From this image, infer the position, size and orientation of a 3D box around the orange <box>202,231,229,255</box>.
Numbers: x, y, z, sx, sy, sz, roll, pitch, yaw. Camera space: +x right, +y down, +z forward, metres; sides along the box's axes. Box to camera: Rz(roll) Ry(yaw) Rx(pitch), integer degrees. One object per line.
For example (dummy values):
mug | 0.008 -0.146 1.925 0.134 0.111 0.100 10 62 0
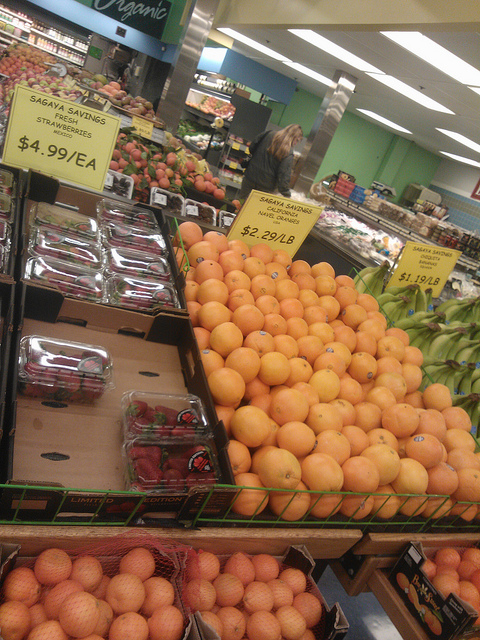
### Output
orange | -0.097 -0.336 2.033 0.108 0.114 0.103 11 -16 -8

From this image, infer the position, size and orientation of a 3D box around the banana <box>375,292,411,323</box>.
banana | 0.857 -0.080 2.579 0.138 0.065 0.180 31 26 -15

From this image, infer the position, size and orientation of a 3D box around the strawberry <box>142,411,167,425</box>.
strawberry | -0.225 0.253 1.205 0.045 0.026 0.033 2 -28 46

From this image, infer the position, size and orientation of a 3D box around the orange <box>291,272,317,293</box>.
orange | 0.287 -0.176 2.067 0.094 0.102 0.088 1 35 7

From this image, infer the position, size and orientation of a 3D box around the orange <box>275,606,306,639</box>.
orange | 0.116 0.714 1.103 0.053 0.035 0.065 -5 39 -32

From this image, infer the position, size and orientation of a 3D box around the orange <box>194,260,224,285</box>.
orange | -0.141 -0.176 1.859 0.108 0.114 0.099 9 -8 -5

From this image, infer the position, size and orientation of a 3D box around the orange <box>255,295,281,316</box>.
orange | 0.106 -0.054 1.822 0.080 0.091 0.073 -4 70 -26

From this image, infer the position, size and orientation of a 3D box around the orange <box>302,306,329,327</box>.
orange | 0.317 -0.016 1.942 0.099 0.077 0.079 -17 -29 18

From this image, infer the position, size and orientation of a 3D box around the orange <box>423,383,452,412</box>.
orange | 0.760 0.302 1.836 0.110 0.096 0.103 10 44 -3

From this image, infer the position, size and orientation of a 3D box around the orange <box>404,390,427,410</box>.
orange | 0.706 0.322 1.852 0.069 0.063 0.079 4 23 5

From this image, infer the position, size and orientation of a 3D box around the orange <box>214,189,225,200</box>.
orange | -0.198 -1.160 4.361 0.096 0.064 0.115 4 46 -13

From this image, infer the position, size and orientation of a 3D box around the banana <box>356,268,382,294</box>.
banana | 0.744 -0.214 2.642 0.083 0.196 0.047 46 -21 -9

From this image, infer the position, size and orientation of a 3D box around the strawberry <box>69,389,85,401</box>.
strawberry | -0.446 0.206 1.251 0.037 0.034 0.032 -3 40 -1

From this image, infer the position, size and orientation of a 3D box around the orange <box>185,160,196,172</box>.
orange | -0.474 -1.426 4.335 0.076 0.076 0.189 27 23 2

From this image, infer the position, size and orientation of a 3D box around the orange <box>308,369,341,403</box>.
orange | 0.273 0.233 1.633 0.109 0.102 0.120 9 57 -10

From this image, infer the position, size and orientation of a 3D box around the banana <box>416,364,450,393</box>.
banana | 0.864 0.264 2.058 0.070 0.039 0.198 12 32 30

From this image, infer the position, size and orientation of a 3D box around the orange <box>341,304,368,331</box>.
orange | 0.504 -0.012 2.036 0.112 0.120 0.112 -5 16 -10

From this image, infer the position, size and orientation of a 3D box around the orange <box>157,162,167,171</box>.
orange | -0.660 -1.268 3.875 0.066 0.060 0.075 2 2 -6

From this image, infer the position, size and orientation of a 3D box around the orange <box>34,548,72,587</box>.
orange | -0.375 0.490 0.911 0.062 0.034 0.060 38 46 -18

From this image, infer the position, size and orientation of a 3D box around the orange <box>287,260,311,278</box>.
orange | 0.280 -0.240 2.221 0.088 0.082 0.094 11 56 1

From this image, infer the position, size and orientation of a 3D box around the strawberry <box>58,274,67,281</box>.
strawberry | -0.578 -0.134 1.478 0.022 0.019 0.020 3 -13 6

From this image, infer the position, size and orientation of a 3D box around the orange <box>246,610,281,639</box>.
orange | 0.055 0.714 1.073 0.067 0.039 0.065 11 27 -30

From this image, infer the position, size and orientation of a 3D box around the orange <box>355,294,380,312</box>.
orange | 0.603 -0.064 2.221 0.089 0.082 0.105 -12 -20 40

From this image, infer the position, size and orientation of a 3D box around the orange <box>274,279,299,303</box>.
orange | 0.193 -0.115 1.912 0.095 0.087 0.110 3 4 17

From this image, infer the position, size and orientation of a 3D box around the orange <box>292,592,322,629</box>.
orange | 0.163 0.719 1.162 0.070 0.075 0.067 2 5 5

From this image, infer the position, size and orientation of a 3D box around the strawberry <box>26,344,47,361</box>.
strawberry | -0.535 0.082 1.189 0.032 0.021 0.029 3 63 -25

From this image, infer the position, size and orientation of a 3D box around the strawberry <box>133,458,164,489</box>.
strawberry | -0.213 0.359 1.072 0.069 0.020 0.078 12 26 -25

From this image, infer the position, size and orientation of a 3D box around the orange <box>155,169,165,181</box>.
orange | -0.668 -1.186 3.790 0.083 0.077 0.092 1 2 -15

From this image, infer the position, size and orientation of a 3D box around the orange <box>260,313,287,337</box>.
orange | 0.127 0.021 1.699 0.088 0.079 0.099 5 0 -7

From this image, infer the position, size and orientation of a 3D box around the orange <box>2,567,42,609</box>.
orange | -0.413 0.497 0.861 0.059 0.055 0.068 2 29 -25

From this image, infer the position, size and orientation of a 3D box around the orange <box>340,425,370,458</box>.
orange | 0.361 0.389 1.482 0.086 0.093 0.081 -3 39 8

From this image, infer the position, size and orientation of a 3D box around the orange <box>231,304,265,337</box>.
orange | 0.029 0.003 1.706 0.113 0.123 0.108 -8 47 -6

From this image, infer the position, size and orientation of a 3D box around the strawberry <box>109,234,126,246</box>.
strawberry | -0.487 -0.310 1.821 0.055 0.031 0.052 17 25 -17

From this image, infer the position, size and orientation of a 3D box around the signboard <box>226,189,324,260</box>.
signboard | 0.167 -0.435 2.230 0.374 0.346 0.027 16 -20 3

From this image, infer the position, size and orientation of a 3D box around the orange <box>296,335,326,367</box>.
orange | 0.239 0.118 1.711 0.116 0.125 0.110 -3 -4 3

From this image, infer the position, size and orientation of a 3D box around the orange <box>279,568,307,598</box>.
orange | 0.137 0.685 1.208 0.057 0.060 0.052 -3 1 3

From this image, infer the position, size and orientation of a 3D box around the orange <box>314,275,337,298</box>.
orange | 0.384 -0.151 2.139 0.100 0.091 0.113 -4 -15 -20

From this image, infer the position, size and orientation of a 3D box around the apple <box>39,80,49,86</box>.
apple | -2.057 -2.441 4.788 0.096 0.059 0.109 1 33 -12

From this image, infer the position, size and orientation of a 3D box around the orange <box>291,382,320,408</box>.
orange | 0.212 0.239 1.522 0.079 0.073 0.071 8 45 -5

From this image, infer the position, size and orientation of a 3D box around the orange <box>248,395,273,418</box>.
orange | 0.070 0.274 1.501 0.067 0.061 0.076 7 34 1

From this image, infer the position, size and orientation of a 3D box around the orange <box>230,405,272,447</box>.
orange | 0.033 0.315 1.363 0.112 0.119 0.107 -20 -7 2

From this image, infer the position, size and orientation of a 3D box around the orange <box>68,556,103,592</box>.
orange | -0.311 0.510 0.930 0.058 0.053 0.065 10 24 -2

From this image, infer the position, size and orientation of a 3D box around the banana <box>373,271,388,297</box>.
banana | 0.811 -0.195 2.673 0.046 0.176 0.066 23 7 23

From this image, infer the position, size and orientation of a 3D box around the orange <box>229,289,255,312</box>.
orange | 0.003 -0.079 1.791 0.091 0.086 0.085 -3 53 -6
